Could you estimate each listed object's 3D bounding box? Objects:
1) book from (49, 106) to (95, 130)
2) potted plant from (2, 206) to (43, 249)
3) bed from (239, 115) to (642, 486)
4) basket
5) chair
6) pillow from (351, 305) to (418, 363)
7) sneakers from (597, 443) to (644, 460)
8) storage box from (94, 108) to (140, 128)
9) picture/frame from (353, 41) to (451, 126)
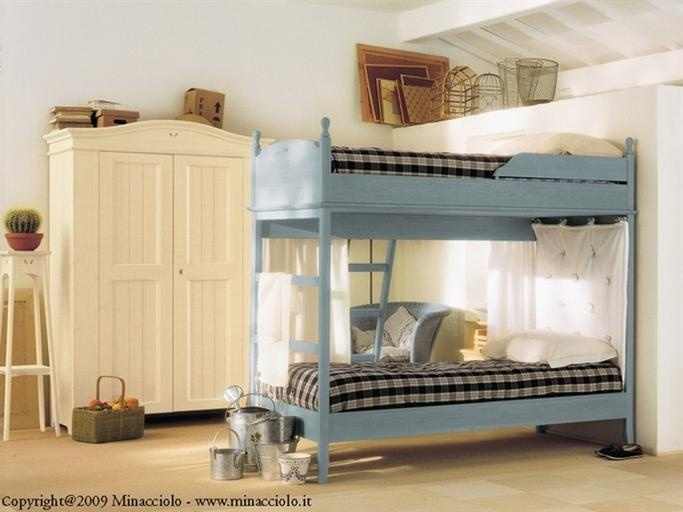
[{"bbox_3d":[-2.572,-1.266,6.428,0.382,0.165,0.280,-1,1,-13],"label":"book"},{"bbox_3d":[-2.843,-0.265,6.000,0.405,0.354,0.379,0,-1,6],"label":"potted plant"},{"bbox_3d":[0.815,0.298,5.600,3.018,2.649,1.138,1,-1,-18],"label":"bed"},{"bbox_3d":[-2.048,1.430,6.204,0.764,0.674,0.456,5,-7,-38],"label":"basket"},{"bbox_3d":[0.727,0.825,7.514,0.899,0.742,0.854,-5,-14,35],"label":"chair"},{"bbox_3d":[0.536,0.867,7.449,0.525,0.586,0.591,19,4,41],"label":"pillow"},{"bbox_3d":[2.260,1.583,5.417,0.219,0.057,0.156,0,-4,-13],"label":"sneakers"},{"bbox_3d":[-2.130,-1.306,6.377,0.386,0.193,0.313,1,-1,-20],"label":"storage box"},{"bbox_3d":[0.688,-2.080,8.132,1.400,0.883,0.093,-1,0,-30],"label":"picture/frame"}]
